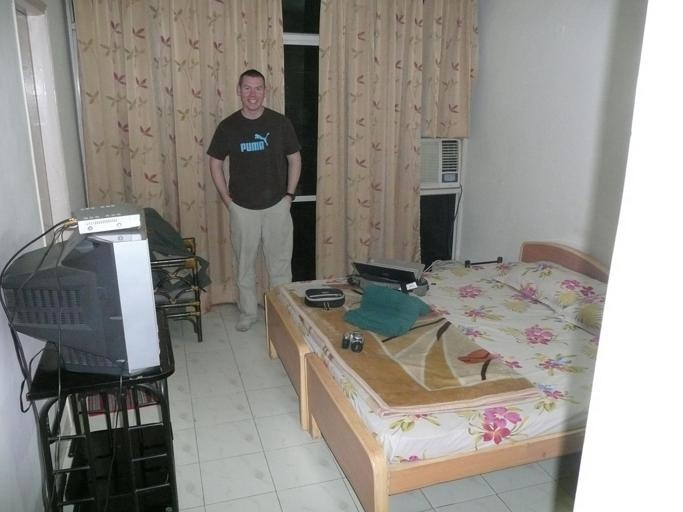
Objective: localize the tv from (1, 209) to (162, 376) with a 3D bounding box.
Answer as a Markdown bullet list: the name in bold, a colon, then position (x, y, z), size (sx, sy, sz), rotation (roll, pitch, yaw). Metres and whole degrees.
- **tv**: position (-0.895, 0.079, 1.949), size (0.586, 0.568, 0.567), rotation (-5, 30, -28)

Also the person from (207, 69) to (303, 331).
- **person**: position (-0.635, -0.419, 4.016), size (0.653, 1.944, 0.322), rotation (-11, 17, -28)

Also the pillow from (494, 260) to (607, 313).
- **pillow**: position (1.346, 0.178, 3.274), size (0.275, 0.115, 0.443), rotation (-14, 30, -17)

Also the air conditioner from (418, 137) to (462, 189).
- **air conditioner**: position (0.903, -0.894, 4.798), size (0.450, 0.416, 0.238), rotation (-2, 13, -4)

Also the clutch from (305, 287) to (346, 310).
- **clutch**: position (-0.105, 0.252, 3.094), size (0.148, 0.049, 0.146), rotation (-3, 21, -2)

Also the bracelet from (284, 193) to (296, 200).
- **bracelet**: position (-0.412, -0.473, 4.031), size (0.075, 0.051, 0.099), rotation (0, 10, -8)
